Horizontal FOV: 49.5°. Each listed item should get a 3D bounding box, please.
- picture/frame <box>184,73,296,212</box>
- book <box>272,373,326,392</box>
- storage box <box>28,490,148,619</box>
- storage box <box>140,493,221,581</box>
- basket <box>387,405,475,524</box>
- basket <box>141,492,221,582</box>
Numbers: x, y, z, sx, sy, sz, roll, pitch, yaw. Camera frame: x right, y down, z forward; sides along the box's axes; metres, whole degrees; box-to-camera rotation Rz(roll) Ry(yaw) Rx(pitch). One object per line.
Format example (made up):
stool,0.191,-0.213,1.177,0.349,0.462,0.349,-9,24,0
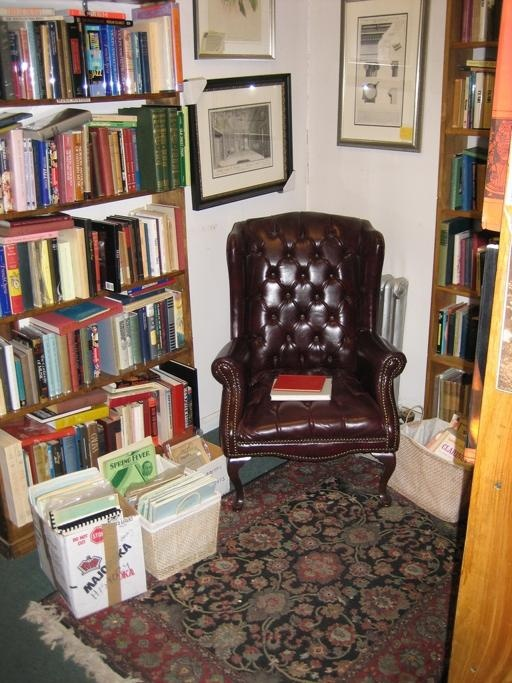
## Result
picture/frame,-0.112,-1.167,3.198,0.045,0.653,0.960,11,23,34
book,0.220,0.212,2.778,0.153,0.019,0.112,3,23,10
storage box,-0.677,0.807,2.268,0.318,0.473,0.363,-16,23,-35
storage box,-0.331,0.829,2.336,0.300,0.286,0.179,-19,30,-38
basket,0.943,0.623,2.842,0.486,0.339,0.352,33,38,32
basket,-0.328,0.829,2.338,0.300,0.288,0.181,-19,30,-38
